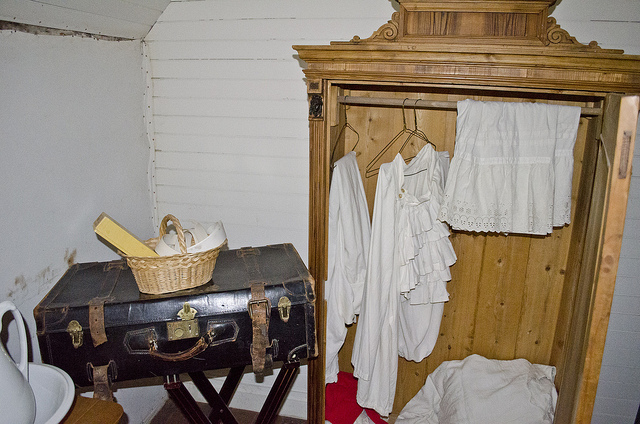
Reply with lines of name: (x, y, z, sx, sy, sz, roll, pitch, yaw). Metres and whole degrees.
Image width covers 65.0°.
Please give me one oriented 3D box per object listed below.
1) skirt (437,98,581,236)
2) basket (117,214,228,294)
skirt: (1.006, -0.234, 2.634, 0.644, 0.717, 0.177, 3, 11, 6)
basket: (-0.725, 0.172, 2.475, 0.443, 0.338, 0.376, -3, 5, -32)
